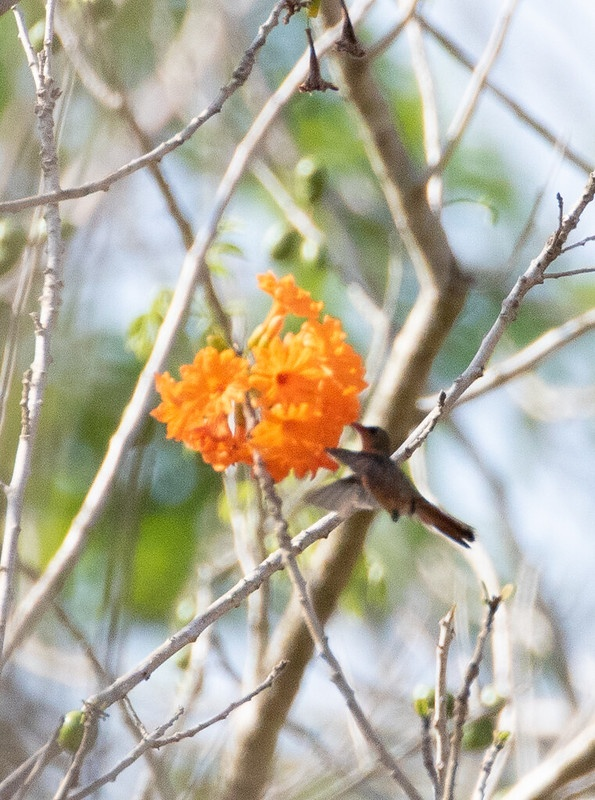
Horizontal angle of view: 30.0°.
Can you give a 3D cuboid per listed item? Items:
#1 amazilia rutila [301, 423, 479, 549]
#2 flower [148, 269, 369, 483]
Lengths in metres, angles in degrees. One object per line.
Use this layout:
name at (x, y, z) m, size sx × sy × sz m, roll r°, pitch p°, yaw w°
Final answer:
amazilia rutila at (0.194, 0.127, 1.907) m, size 0.333 × 0.309 × 0.145 m, roll 18°, pitch -86°, yaw 27°
flower at (-0.065, -0.019, 1.916) m, size 0.336 × 0.327 × 0.240 m, roll -30°, pitch -57°, yaw -16°
